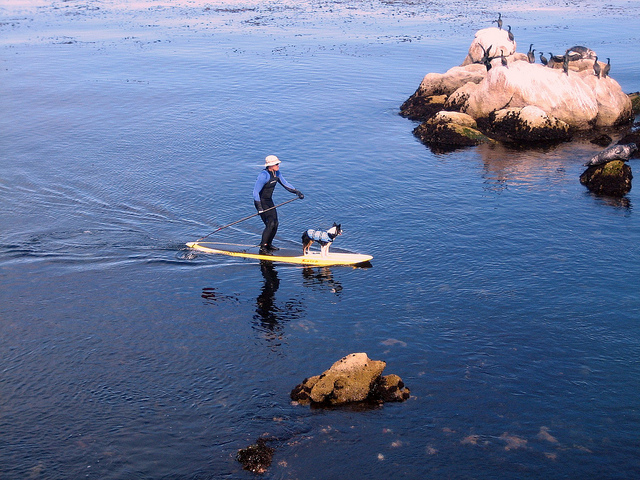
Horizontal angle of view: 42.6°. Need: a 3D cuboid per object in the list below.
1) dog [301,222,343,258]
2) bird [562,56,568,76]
[{"bbox_3d":[0.048,-0.016,30.277,1.759,1.486,0.862,-1,29,11],"label":"dog"},{"bbox_3d":[13.461,-9.549,45.115,0.269,1.059,0.637,-2,28,15],"label":"bird"}]
